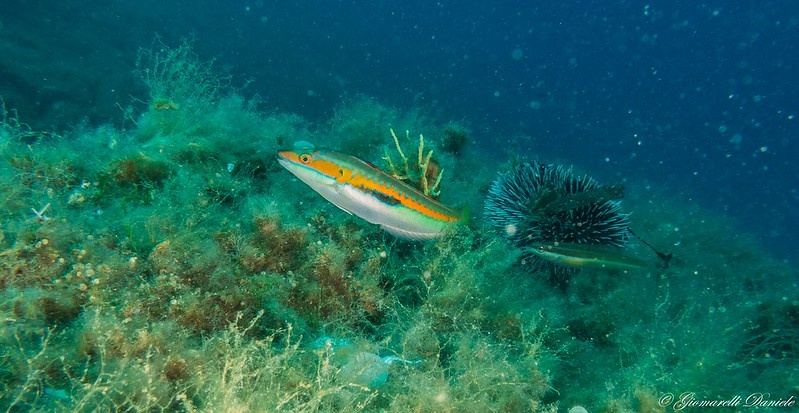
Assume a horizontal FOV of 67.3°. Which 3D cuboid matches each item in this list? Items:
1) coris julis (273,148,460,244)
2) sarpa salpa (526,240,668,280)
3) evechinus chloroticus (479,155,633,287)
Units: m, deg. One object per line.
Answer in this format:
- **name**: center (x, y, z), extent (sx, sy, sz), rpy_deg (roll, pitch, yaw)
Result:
- **coris julis**: center (-1.049, -0.448, 16.811), extent (5.658, 1.957, 1.897), rpy_deg (21, 16, -14)
- **sarpa salpa**: center (5.503, 1.477, 17.044), extent (4.159, 0.934, 0.783), rpy_deg (4, -3, 39)
- **evechinus chloroticus**: center (5.046, 0.456, 18.715), extent (3.939, 2.050, 3.759), rpy_deg (-21, 46, -37)
